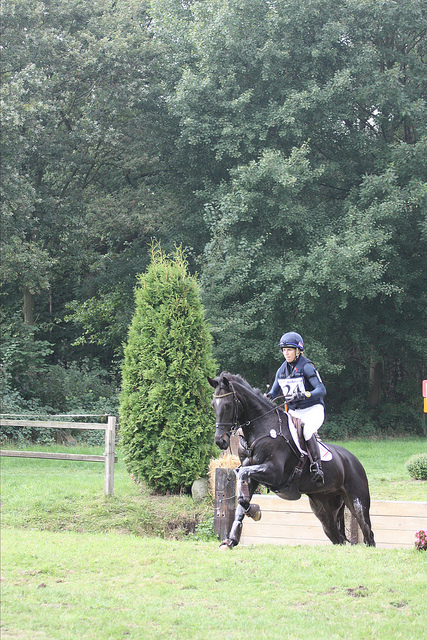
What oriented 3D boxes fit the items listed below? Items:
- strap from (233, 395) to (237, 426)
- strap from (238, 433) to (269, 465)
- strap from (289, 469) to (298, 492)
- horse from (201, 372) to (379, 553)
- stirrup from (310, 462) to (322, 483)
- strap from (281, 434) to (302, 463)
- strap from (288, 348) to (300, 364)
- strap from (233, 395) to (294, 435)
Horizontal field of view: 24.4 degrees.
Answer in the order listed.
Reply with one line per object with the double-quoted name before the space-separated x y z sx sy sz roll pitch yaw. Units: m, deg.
"strap" 0.287 1.206 13.169 0.028 0.268 0.020 3 -24 -12
"strap" 0.564 1.742 13.499 0.364 0.362 0.357 1 -14 -46
"strap" 1.097 2.175 13.515 0.082 0.328 0.085 19 -7 -15
"horse" 1.130 2.187 13.881 3.302 2.247 0.817 21 -23 -37
"stirrup" 1.408 2.097 13.579 0.155 0.236 0.082 -2 -2 41
"strap" 1.054 1.751 13.474 0.063 0.451 0.067 -41 -18 13
"strap" 1.119 0.491 13.712 0.120 0.168 0.167 -4 -29 7
"strap" 0.750 1.246 13.589 1.130 0.099 0.313 -30 37 -28
